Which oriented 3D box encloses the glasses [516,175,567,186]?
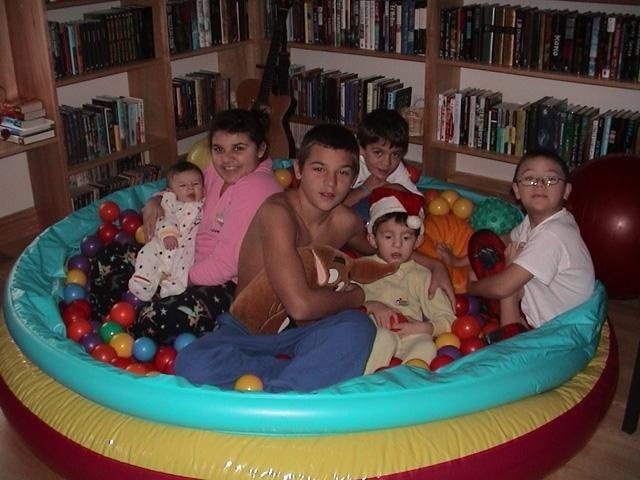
[{"bbox_3d":[0.866,-0.227,1.898,0.154,0.045,0.046,6,14,20],"label":"glasses"}]

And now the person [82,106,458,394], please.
[{"bbox_3d":[-0.200,0.137,1.824,1.016,0.597,1.206,15,44,3],"label":"person"}]

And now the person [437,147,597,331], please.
[{"bbox_3d":[0.875,0.021,2.011,0.446,0.766,0.401,1,13,38],"label":"person"}]
